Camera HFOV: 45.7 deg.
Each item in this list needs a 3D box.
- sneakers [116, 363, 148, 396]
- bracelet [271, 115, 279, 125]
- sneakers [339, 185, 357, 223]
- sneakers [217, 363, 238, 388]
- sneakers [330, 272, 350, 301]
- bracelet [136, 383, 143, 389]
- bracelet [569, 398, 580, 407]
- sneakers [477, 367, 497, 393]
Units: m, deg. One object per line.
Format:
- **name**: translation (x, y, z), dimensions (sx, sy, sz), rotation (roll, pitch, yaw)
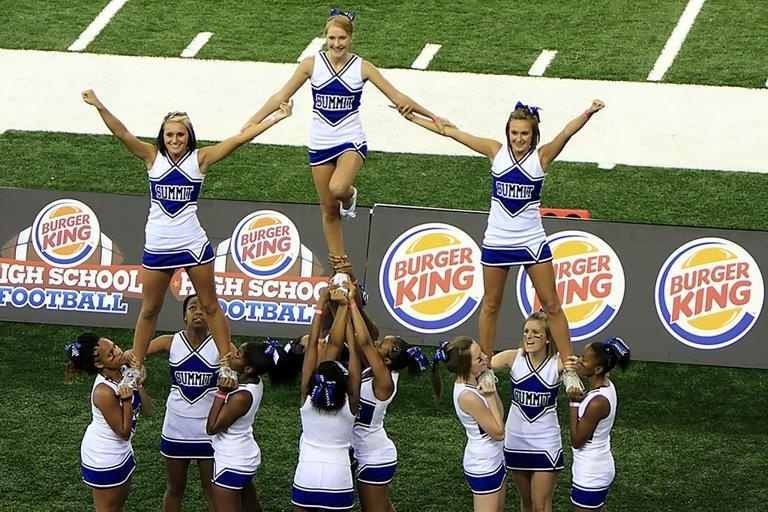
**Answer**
- **sneakers**: translation (-3.068, 1.510, 11.035), dimensions (0.268, 0.322, 0.134), rotation (10, -9, -21)
- **bracelet**: translation (-1.331, -1.654, 11.021), dimensions (0.108, 0.046, 0.083), rotation (-38, 8, 14)
- **sneakers**: translation (-0.483, -0.586, 11.828), dimensions (0.173, 0.513, 0.217), rotation (3, 27, 8)
- **sneakers**: translation (-1.898, 1.452, 11.037), dimensions (0.220, 0.265, 0.173), rotation (4, 18, 6)
- **sneakers**: translation (-0.530, 0.339, 11.110), dimensions (0.194, 0.271, 0.132), rotation (-14, -7, -12)
- **bracelet**: translation (-3.030, 1.595, 11.272), dimensions (0.069, 0.115, 0.117), rotation (0, -2, -6)
- **bracelet**: translation (2.349, 1.790, 11.226), dimensions (0.103, 0.080, 0.114), rotation (-1, 6, 0)
- **sneakers**: translation (1.248, 1.497, 11.073), dimensions (0.229, 0.272, 0.130), rotation (-3, -2, -24)
